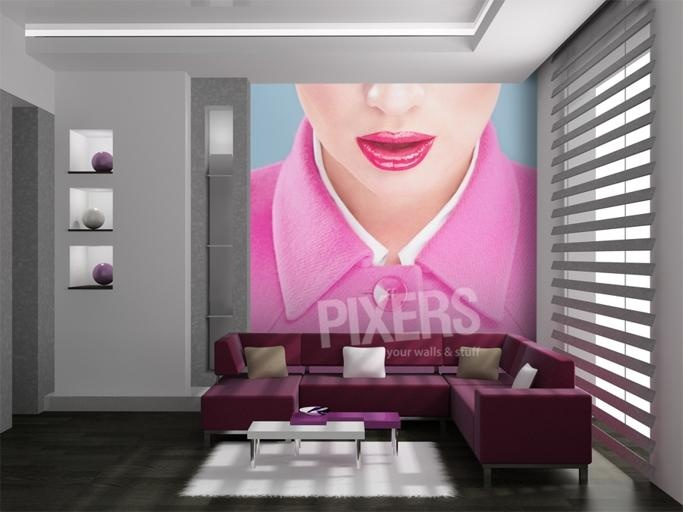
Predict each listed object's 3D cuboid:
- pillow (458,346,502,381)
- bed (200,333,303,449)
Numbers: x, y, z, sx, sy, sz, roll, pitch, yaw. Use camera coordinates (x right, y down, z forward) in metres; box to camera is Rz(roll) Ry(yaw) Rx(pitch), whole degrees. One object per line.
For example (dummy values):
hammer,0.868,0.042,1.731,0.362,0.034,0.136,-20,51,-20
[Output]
pillow,1.504,1.199,5.914,0.492,0.379,0.235,1,-10,6
bed,-0.911,1.462,5.985,1.182,1.064,1.496,4,-2,6
